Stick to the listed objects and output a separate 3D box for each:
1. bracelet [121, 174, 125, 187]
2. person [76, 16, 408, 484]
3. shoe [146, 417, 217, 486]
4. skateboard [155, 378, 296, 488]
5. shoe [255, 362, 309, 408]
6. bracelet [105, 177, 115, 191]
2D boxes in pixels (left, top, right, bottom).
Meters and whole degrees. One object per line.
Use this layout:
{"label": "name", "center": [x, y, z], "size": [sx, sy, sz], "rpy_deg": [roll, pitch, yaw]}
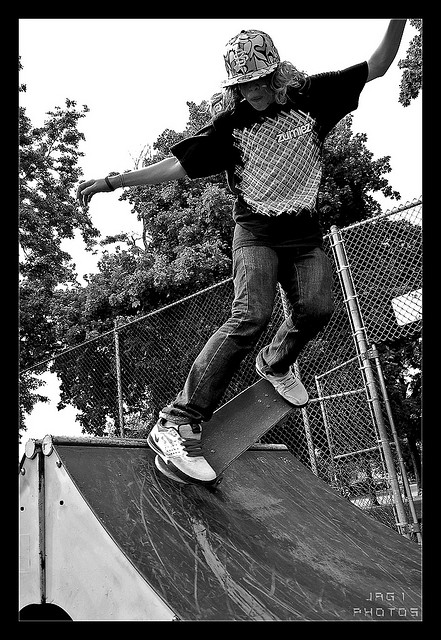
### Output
{"label": "bracelet", "center": [-0.346, -0.502, 2.193], "size": [0.010, 0.058, 0.010], "rpy_deg": [-13, 2, -4]}
{"label": "person", "center": [0.162, -0.237, 2.266], "size": [1.022, 1.640, 0.482], "rpy_deg": [-5, 0, -2]}
{"label": "shoe", "center": [-0.133, 0.460, 2.115], "size": [0.219, 0.236, 0.208], "rpy_deg": [-5, 0, -8]}
{"label": "skateboard", "center": [0.089, 0.395, 2.397], "size": [0.100, 0.183, 0.712], "rpy_deg": [-33, -11, -35]}
{"label": "shoe", "center": [0.275, 0.272, 2.515], "size": [0.098, 0.268, 0.113], "rpy_deg": [-41, -2, -10]}
{"label": "bracelet", "center": [-0.389, -0.486, 2.174], "size": [0.013, 0.040, 0.016], "rpy_deg": [-34, 8, -32]}
